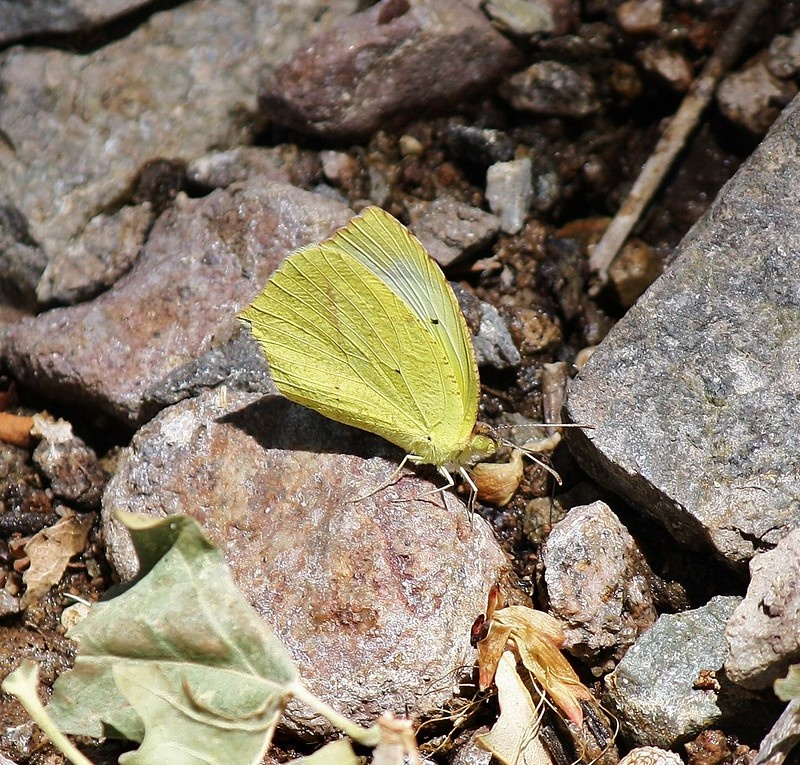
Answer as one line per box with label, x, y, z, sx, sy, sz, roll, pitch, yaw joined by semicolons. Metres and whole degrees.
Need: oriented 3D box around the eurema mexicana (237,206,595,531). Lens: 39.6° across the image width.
eurema mexicana;0.079;-0.052;5.186;1.652;0.923;1.284;14;102;-4
